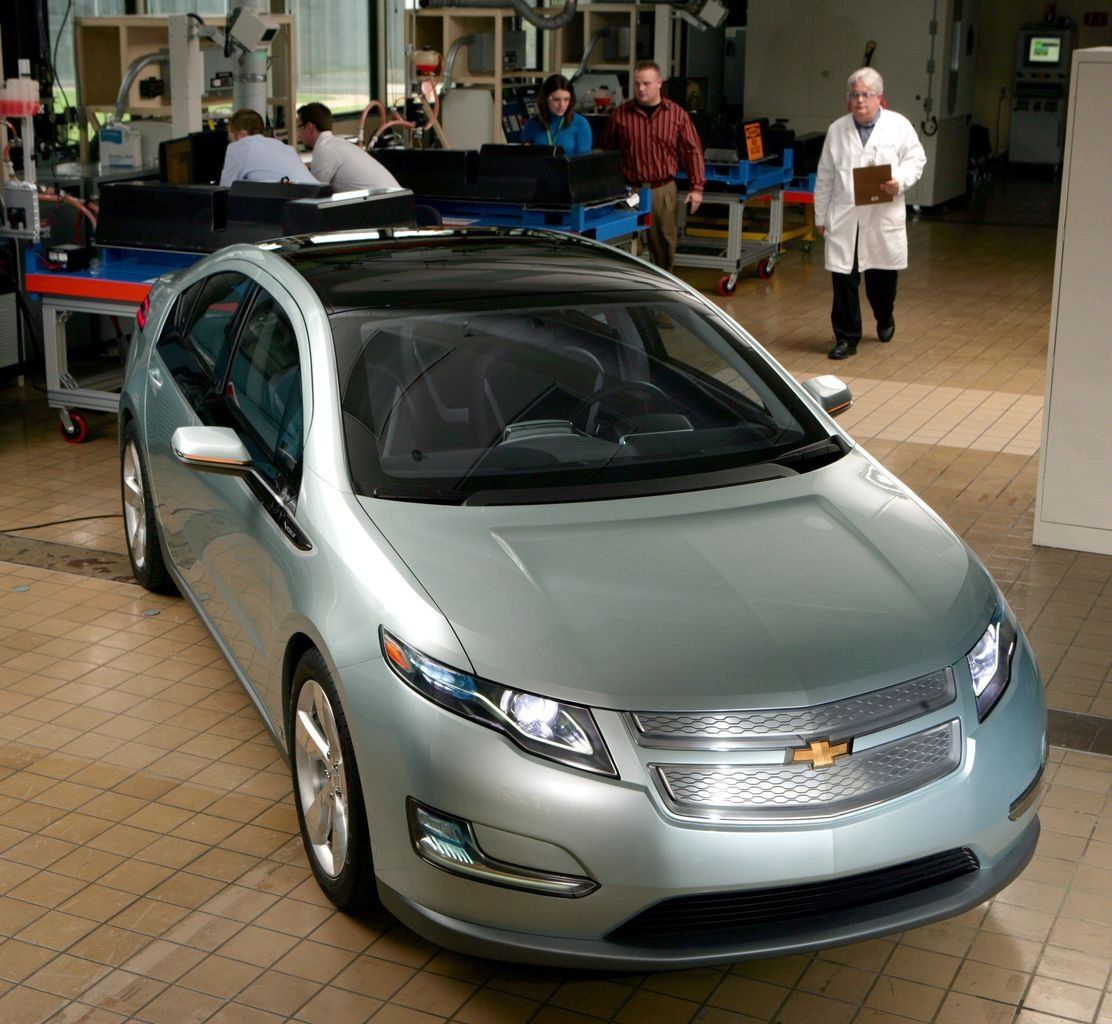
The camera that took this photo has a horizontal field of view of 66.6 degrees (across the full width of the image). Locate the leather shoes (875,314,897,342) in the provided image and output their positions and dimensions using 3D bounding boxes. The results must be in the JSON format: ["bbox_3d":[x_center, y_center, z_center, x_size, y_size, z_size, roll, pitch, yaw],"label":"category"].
[{"bbox_3d":[3.471,-1.939,9.035,0.129,0.348,0.152,0,-16,4],"label":"leather shoes"}]

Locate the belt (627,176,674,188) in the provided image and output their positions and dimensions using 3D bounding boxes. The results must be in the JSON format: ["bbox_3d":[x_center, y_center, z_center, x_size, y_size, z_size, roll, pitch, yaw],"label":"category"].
[{"bbox_3d":[1.102,-3.906,10.016,0.514,0.196,0.375,1,12,3],"label":"belt"}]

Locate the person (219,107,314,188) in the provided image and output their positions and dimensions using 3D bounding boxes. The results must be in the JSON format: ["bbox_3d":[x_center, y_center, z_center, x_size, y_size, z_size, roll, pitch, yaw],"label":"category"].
[{"bbox_3d":[-2.590,-3.304,7.633,0.748,0.796,1.268,-5,13,-24],"label":"person"}]

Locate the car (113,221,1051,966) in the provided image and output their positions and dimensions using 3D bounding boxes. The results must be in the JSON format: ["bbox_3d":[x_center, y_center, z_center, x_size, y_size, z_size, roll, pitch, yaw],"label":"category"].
[{"bbox_3d":[-0.322,0.006,2.539,1.490,0.926,2.963,-8,26,-27],"label":"car"}]
